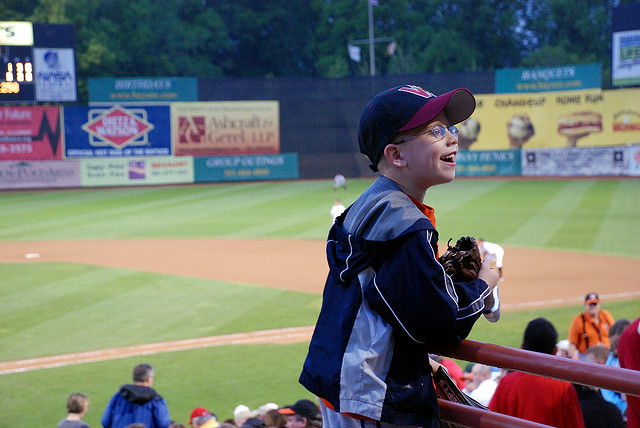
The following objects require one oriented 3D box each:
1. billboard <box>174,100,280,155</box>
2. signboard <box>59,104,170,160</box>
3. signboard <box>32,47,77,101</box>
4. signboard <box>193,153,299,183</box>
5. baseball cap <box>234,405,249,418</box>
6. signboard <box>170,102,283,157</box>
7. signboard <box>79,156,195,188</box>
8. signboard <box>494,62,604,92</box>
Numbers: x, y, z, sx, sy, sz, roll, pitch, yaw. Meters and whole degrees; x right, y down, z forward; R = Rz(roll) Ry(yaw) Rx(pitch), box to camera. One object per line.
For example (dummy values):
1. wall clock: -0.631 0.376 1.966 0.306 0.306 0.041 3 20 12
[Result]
1. billboard: -2.479 -2.212 24.785 2.709 1.403 0.674 -2 7 -8
2. signboard: -5.277 -2.059 24.042 2.511 1.300 0.319 -3 8 -14
3. signboard: -6.512 -3.361 23.164 0.963 1.264 0.339 -4 8 -18
4. signboard: -1.894 -1.211 25.210 3.138 0.677 0.428 -1 0 20
5. baseball cap: -1.572 3.842 18.707 0.218 0.233 0.279 1 -12 -3
6. signboard: -2.546 -2.032 24.790 3.630 1.705 0.346 -5 9 -42
7. signboard: -4.759 -1.100 24.468 2.875 0.749 0.334 -3 8 -16
8. signboard: 7.971 -4.720 33.010 5.831 0.916 0.078 -8 21 -32
